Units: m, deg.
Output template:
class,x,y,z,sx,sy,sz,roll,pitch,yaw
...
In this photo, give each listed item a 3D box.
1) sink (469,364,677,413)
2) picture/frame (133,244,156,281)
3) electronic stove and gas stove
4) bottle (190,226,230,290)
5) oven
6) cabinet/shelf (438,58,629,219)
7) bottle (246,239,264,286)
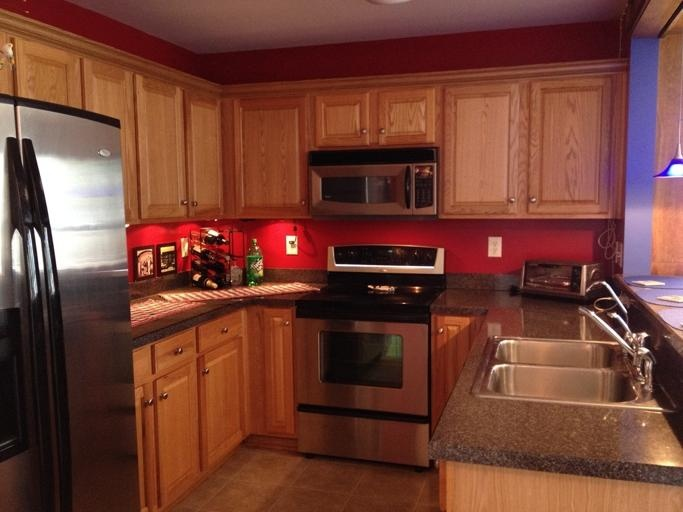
class,x,y,z,sx,sy,sz,roll,pitch,yaw
sink,0.901,0.523,2.182,0.405,0.150,0.278,1,6,8
picture/frame,-1.291,0.045,3.563,0.027,0.276,0.234,0,2,26
electronic stove and gas stove,0.214,0.218,3.651,0.864,0.166,0.619,0,7,18
bottle,-0.954,0.010,3.981,0.296,0.415,0.437,-4,7,-14
oven,0.176,0.813,3.817,1.053,1.251,0.849,-1,-1,18
cabinet/shelf,1.234,-0.735,3.416,0.995,0.863,0.387,2,3,17
bottle,-0.652,0.036,4.091,0.138,0.327,0.284,-4,7,-8
